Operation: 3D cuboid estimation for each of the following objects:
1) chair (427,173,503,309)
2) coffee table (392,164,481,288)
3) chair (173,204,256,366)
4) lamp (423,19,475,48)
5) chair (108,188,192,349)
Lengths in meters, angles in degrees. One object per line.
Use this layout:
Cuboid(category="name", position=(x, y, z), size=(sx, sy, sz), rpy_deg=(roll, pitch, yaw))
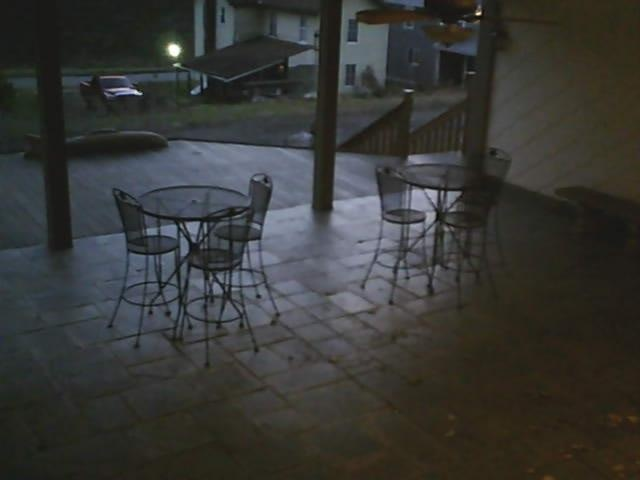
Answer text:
Cuboid(category="chair", position=(1.566, 0.035, 6.113), size=(0.550, 1.250, 0.648), rpy_deg=(-11, 41, -9))
Cuboid(category="coffee table", position=(1.277, -0.135, 6.212), size=(1.053, 1.174, 1.054), rpy_deg=(-5, 24, -7))
Cuboid(category="chair", position=(-0.962, 0.186, 5.010), size=(0.730, 1.187, 1.457), rpy_deg=(-3, 23, -10))
Cuboid(category="lamp", position=(1.127, -1.774, 4.877), size=(0.513, 0.171, 0.350), rpy_deg=(-10, 25, -24))
Cuboid(category="chair", position=(-1.584, 0.303, 5.310), size=(0.725, 1.537, 0.692), rpy_deg=(-11, 39, -34))
